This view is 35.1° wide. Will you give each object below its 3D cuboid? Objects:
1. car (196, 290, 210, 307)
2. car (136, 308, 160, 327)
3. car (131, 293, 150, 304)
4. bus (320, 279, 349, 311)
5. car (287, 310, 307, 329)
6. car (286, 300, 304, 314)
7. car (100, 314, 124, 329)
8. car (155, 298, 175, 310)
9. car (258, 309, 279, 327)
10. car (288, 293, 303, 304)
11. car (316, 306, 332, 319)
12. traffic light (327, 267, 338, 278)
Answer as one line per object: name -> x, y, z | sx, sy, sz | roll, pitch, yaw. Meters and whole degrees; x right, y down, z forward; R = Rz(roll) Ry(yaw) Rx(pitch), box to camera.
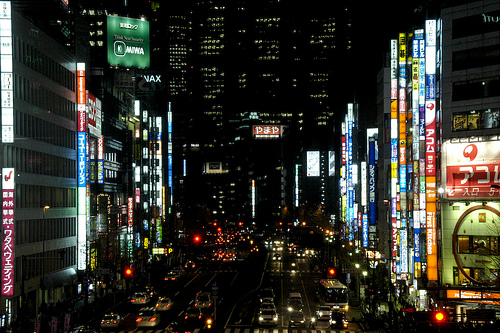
car -> -4.962, 14.124, 83.178 | 1.472, 1.342, 3.439 | 1, -6, -3
car -> -9.968, 14.756, 76.995 | 2.118, 1.717, 1.654 | 5, -7, -42
car -> -11.917, 14.413, 85.794 | 1.204, 0.821, 2.540 | 1, 5, 0
bus -> 8.923, 13.867, 84.205 | 1.985, 1.926, 6.009 | 0, -13, 0
car -> 4.730, 15.119, 78.494 | 1.860, 1.642, 2.209 | 0, -5, 2
car -> 4.607, 14.383, 80.471 | 1.312, 1.027, 2.184 | 0, -13, -2
car -> -13.321, 14.930, 76.211 | 1.079, 0.877, 1.774 | 0, 1, 1
car -> -9.091, 14.447, 82.993 | 1.568, 1.124, 1.264 | 1, -5, -4
car -> 1.762, 15.036, 78.063 | 1.756, 1.580, 1.660 | 0, -5, 3
car -> 4.733, 13.963, 83.215 | 1.041, 0.924, 1.795 | -1, -18, 1
car -> 7.538, 14.776, 79.860 | 1.470, 1.203, 1.572 | -1, -5, 11
traffic light -> 10.708, 13.870, 102.642 | 1.189, 1.227, 1.246 | -1, -2, 5
